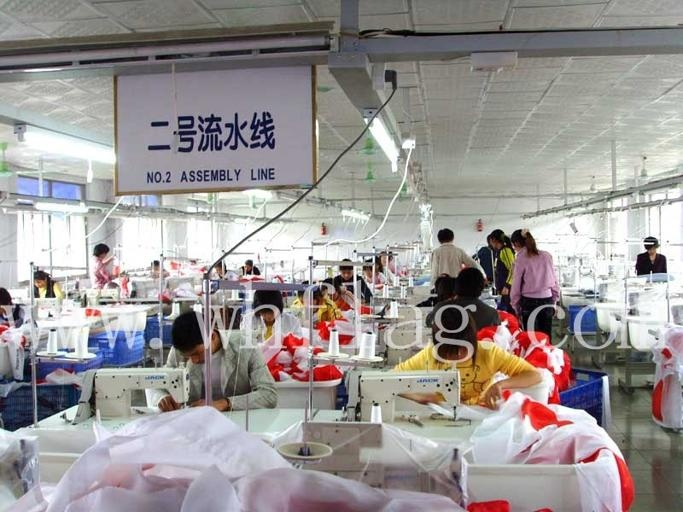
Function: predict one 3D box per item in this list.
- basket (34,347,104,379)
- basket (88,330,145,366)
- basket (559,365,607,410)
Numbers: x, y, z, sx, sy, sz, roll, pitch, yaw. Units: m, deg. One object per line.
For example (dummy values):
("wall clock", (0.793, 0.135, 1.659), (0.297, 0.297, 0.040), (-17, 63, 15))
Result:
("basket", (-2.084, 0.811, 4.507), (0.498, 0.128, 0.478), (1, -4, -3))
("basket", (-2.487, 0.986, 6.598), (0.385, 0.254, 0.585), (0, 1, 10))
("basket", (1.880, 1.022, 4.591), (0.297, 0.157, 0.455), (-1, -2, 22))
